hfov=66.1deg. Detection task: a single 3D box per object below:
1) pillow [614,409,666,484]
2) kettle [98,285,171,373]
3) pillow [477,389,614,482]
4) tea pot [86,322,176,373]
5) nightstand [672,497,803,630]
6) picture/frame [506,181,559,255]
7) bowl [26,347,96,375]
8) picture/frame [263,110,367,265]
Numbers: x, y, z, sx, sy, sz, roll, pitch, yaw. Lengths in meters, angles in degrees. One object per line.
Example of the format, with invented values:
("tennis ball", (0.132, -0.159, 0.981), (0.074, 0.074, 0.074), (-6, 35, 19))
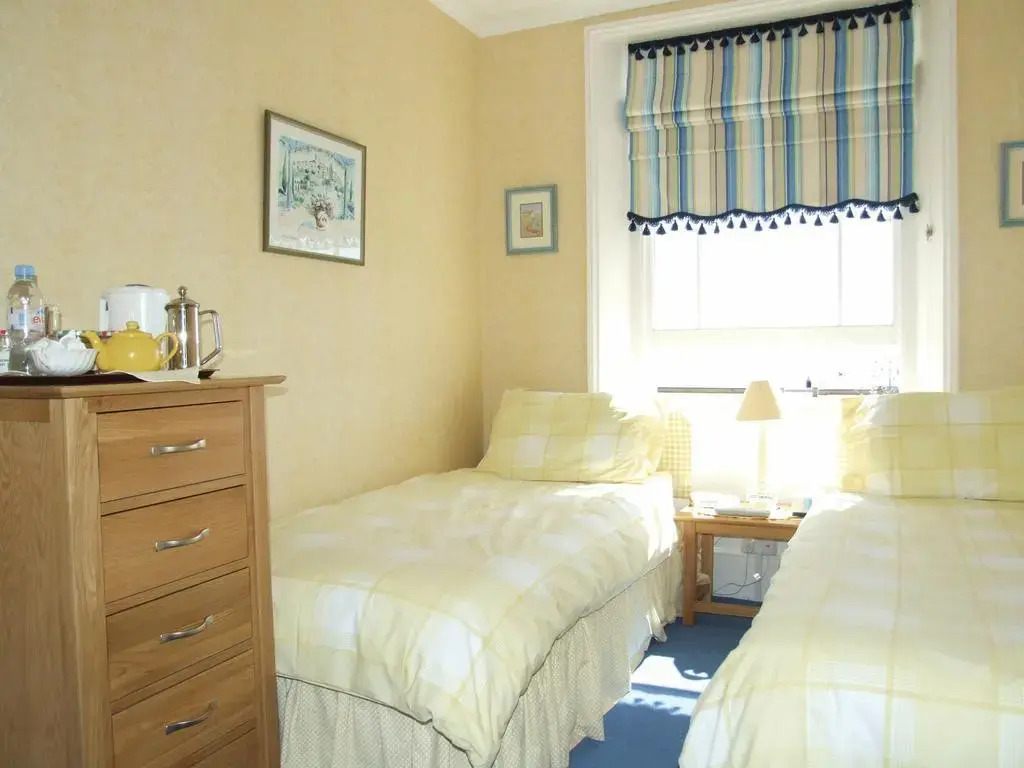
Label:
("pillow", (0.639, 0.296, 3.826), (0.091, 0.313, 0.243), (11, -3, -33))
("kettle", (-1.054, -0.160, 2.190), (0.117, 0.210, 0.092), (9, 5, 21))
("pillow", (0.151, 0.240, 3.915), (0.582, 0.441, 0.463), (6, 3, 7))
("tea pot", (-1.014, -0.093, 2.117), (0.180, 0.140, 0.157), (6, 3, 26))
("nightstand", (1.092, 0.760, 3.678), (0.624, 0.601, 0.487), (-1, -1, 26))
("picture/frame", (0.127, -0.928, 4.370), (0.406, 0.478, 0.035), (0, -1, 25))
("bowl", (-1.095, -0.063, 1.931), (0.092, 0.053, 0.088), (1, -2, 0))
("picture/frame", (-0.820, -0.807, 3.344), (0.023, 0.519, 0.598), (8, 9, 28))
